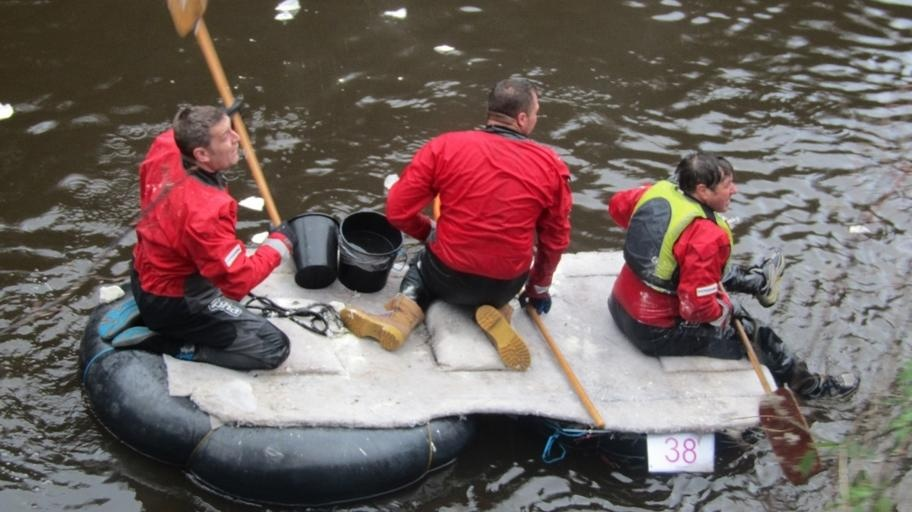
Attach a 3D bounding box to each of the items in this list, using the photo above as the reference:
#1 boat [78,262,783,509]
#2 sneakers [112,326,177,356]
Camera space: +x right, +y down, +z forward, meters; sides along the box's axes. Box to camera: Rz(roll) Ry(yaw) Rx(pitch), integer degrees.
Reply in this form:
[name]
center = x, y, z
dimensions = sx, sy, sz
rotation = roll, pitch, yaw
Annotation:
[boat]
center = -0.418, 1.558, 9.694
dimensions = 6.062, 0.800, 2.947
rotation = 2, 29, -6
[sneakers]
center = -3.271, 0.910, 9.696
dimensions = 0.676, 0.280, 0.220
rotation = 8, 37, 3
